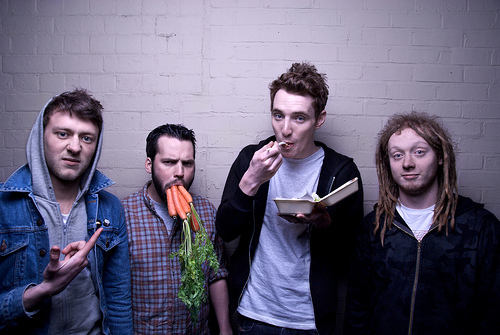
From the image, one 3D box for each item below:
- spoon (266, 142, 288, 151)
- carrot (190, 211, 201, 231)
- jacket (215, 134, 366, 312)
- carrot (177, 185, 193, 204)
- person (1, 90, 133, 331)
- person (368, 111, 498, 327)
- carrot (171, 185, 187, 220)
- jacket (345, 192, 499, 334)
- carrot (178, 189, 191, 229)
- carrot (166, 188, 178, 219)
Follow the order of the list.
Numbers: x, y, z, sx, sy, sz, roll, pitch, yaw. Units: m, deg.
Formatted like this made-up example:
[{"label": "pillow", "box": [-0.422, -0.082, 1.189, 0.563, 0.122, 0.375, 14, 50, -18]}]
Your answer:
[{"label": "spoon", "box": [0.191, -0.151, 2.678, 0.098, 0.034, 0.068, -36, 34, -20]}, {"label": "carrot", "box": [-0.370, 0.375, 2.705, 0.043, 0.145, 0.040, -6, 4, 28]}, {"label": "jacket", "box": [0.307, 0.491, 2.953, 1.043, 1.410, 0.632, 3, 8, 8]}, {"label": "carrot", "box": [-0.445, 0.183, 2.726, 0.048, 0.050, 0.187, 18, 24, -39]}, {"label": "person", "box": [-1.143, 0.315, 2.474, 0.772, 1.574, 0.518, 0, 8, -17]}, {"label": "person", "box": [1.219, 0.369, 2.622, 0.834, 1.396, 0.403, 5, 8, 16]}, {"label": "carrot", "box": [-0.485, 0.225, 2.722, 0.067, 0.051, 0.297, -10, 53, -10]}, {"label": "jacket", "box": [1.154, 0.659, 2.607, 0.907, 1.011, 0.410, 2, -11, 22]}, {"label": "carrot", "box": [-0.446, 0.273, 2.688, 0.057, 0.049, 0.287, -11, 58, -18]}, {"label": "carrot", "box": [-0.530, 0.245, 2.709, 0.051, 0.055, 0.226, -5, 49, -9]}]
